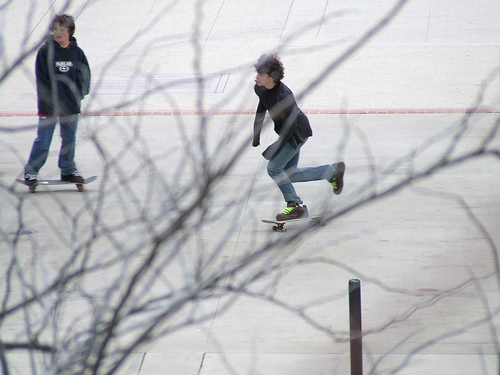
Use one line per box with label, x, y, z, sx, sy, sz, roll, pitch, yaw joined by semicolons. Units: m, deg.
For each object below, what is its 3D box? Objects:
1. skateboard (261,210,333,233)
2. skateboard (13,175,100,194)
skateboard;0.528;0.295;9.295;0.942;0.117;0.193;-5;9;-8
skateboard;-2.036;-0.044;10.369;0.948;0.212;0.122;0;-63;-7
